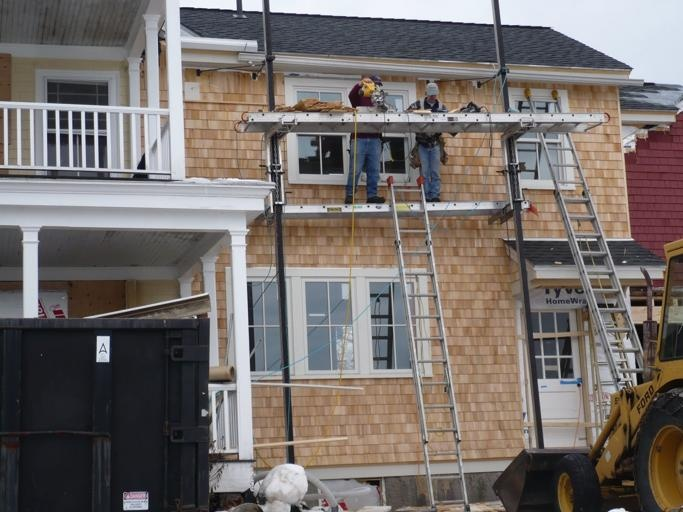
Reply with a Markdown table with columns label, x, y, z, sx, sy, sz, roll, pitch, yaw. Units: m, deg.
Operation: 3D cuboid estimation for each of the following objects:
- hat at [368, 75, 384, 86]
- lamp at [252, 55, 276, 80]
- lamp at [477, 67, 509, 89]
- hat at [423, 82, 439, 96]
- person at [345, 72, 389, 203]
| label | x | y | z | sx | sy | sz | roll | pitch | yaw |
| --- | --- | --- | --- | --- | --- | --- | --- | --- | --- |
| hat | 0.526 | -2.603 | 21.489 | 0.184 | 0.221 | 0.228 | -2 | 4 | 10 |
| lamp | -1.182 | -2.829 | 21.524 | 0.344 | 0.249 | 0.804 | -3 | -13 | -4 |
| lamp | 2.371 | -2.727 | 22.447 | 0.440 | 0.113 | 0.284 | -14 | -11 | 12 |
| hat | 1.365 | -2.470 | 21.438 | 0.188 | 0.191 | 0.253 | 0 | -9 | -4 |
| person | 0.344 | -1.822 | 21.500 | 0.669 | 2.105 | 1.423 | -3 | -14 | -1 |
